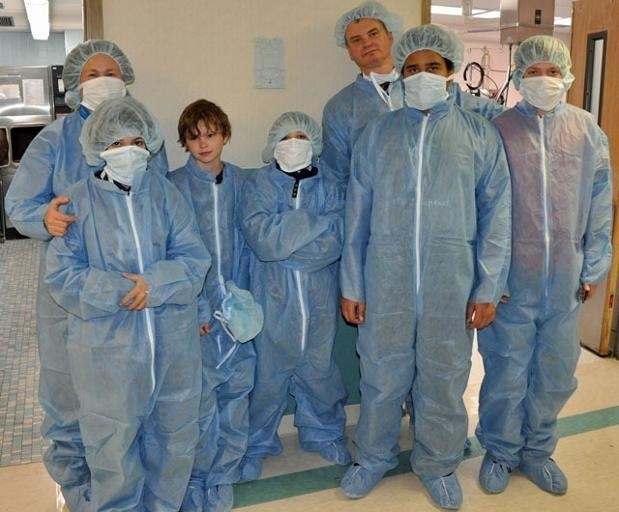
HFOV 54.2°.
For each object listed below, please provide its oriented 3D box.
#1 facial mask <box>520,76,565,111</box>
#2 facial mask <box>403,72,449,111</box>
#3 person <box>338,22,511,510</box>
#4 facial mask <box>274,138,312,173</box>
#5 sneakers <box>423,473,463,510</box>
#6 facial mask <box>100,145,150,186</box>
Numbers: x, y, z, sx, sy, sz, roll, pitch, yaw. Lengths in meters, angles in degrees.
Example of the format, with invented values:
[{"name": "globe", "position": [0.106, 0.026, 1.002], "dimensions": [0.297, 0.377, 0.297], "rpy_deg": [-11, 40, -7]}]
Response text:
[{"name": "facial mask", "position": [0.999, -0.693, 2.592], "dimensions": [0.181, 0.152, 0.091], "rpy_deg": [-1, 11, 20]}, {"name": "facial mask", "position": [0.461, -0.654, 2.412], "dimensions": [0.135, 0.106, 0.146], "rpy_deg": [2, 5, 19]}, {"name": "person", "position": [0.467, 0.070, 2.545], "dimensions": [0.755, 1.983, 0.337], "rpy_deg": [-2, 11, 10]}, {"name": "facial mask", "position": [-0.084, -0.424, 2.568], "dimensions": [0.119, 0.142, 0.149], "rpy_deg": [0, 6, 1]}, {"name": "sneakers", "position": [0.575, 0.995, 2.603], "dimensions": [0.091, 0.070, 0.172], "rpy_deg": [-10, 40, -22]}, {"name": "facial mask", "position": [-0.677, -0.341, 2.228], "dimensions": [0.136, 0.103, 0.151], "rpy_deg": [-6, 20, -20]}]
